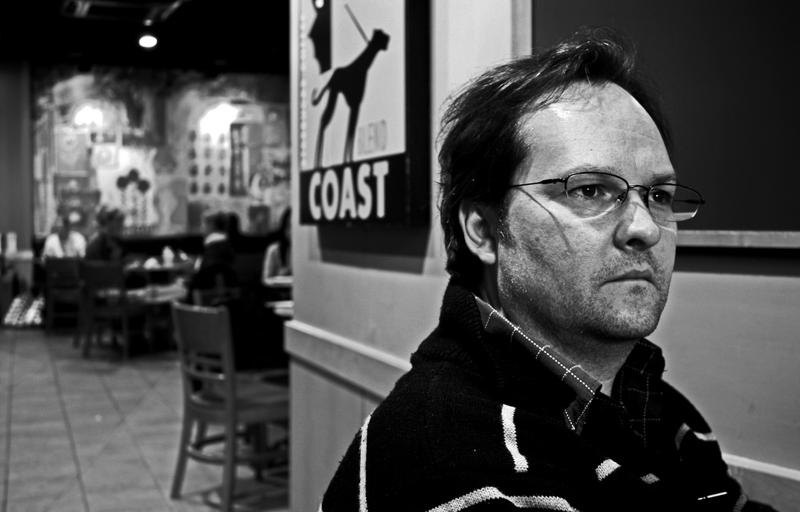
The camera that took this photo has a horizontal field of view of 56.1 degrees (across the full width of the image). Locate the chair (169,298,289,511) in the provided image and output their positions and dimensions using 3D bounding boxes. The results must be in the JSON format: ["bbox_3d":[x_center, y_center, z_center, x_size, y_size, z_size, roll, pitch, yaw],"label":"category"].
[{"bbox_3d":[-0.784,0.694,3.460,0.532,0.973,0.415,2,6,-10],"label":"chair"}]

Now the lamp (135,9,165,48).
[{"bbox_3d":[-1.186,-1.069,3.548,0.103,0.206,0.133,0,6,-19],"label":"lamp"}]
